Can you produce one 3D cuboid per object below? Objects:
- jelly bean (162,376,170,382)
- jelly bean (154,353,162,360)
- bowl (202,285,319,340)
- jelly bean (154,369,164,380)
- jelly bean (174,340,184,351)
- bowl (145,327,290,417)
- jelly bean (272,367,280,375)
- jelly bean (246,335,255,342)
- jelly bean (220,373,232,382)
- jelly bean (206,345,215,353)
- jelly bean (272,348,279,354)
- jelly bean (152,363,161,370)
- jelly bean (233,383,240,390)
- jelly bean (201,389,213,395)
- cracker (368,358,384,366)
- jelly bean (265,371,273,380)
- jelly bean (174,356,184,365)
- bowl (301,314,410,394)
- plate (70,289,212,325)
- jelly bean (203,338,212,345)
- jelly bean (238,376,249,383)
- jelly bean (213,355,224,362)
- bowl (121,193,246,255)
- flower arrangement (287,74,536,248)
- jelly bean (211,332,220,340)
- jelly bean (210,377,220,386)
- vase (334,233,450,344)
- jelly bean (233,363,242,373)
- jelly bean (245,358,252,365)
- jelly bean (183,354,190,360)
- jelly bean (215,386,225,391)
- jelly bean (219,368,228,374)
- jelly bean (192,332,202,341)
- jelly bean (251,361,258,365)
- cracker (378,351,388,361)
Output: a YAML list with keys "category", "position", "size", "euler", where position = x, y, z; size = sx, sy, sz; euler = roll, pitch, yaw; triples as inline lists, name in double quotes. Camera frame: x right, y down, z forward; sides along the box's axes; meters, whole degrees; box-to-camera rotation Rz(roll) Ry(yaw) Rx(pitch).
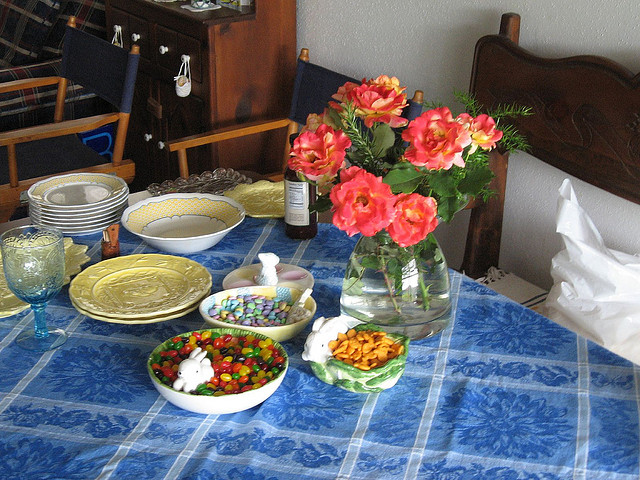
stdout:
- category: "jelly bean"
  position: [-0.247, 0.224, 0.728]
  size: [0.008, 0.005, 0.008]
  euler: [5, 14, 11]
- category: "jelly bean"
  position: [-0.274, 0.199, 0.770]
  size: [0.008, 0.009, 0.008]
  euler: [18, -4, -31]
- category: "bowl"
  position: [-0.124, 0.141, 0.911]
  size: [0.140, 0.039, 0.134]
  euler: [1, 8, 0]
- category: "jelly bean"
  position: [-0.261, 0.221, 0.745]
  size: [0.014, 0.010, 0.005]
  euler: [48, 26, -3]
- category: "jelly bean"
  position: [-0.244, 0.185, 0.791]
  size: [0.009, 0.008, 0.013]
  euler: [16, 54, 11]
- category: "bowl"
  position: [-0.163, 0.177, 0.743]
  size: [0.156, 0.067, 0.167]
  euler: [4, 14, -1]
- category: "jelly bean"
  position: [-0.072, 0.217, 0.747]
  size: [0.010, 0.009, 0.009]
  euler: [26, 62, 13]
- category: "jelly bean"
  position: [-0.125, 0.178, 0.817]
  size: [0.014, 0.011, 0.011]
  euler: [13, 30, 33]
- category: "jelly bean"
  position: [-0.150, 0.222, 0.730]
  size: [0.015, 0.008, 0.010]
  euler: [9, 14, 24]
- category: "jelly bean"
  position: [-0.190, 0.191, 0.791]
  size: [0.009, 0.012, 0.009]
  euler: [-7, 50, 41]
- category: "jelly bean"
  position: [-0.076, 0.195, 0.789]
  size: [0.005, 0.003, 0.006]
  euler: [-14, 36, -24]
- category: "jelly bean"
  position: [-0.269, 0.210, 0.750]
  size: [0.009, 0.007, 0.007]
  euler: [-8, 44, 25]
- category: "jelly bean"
  position: [-0.134, 0.235, 0.725]
  size: [0.008, 0.005, 0.007]
  euler: [1, 21, 0]
- category: "jelly bean"
  position: [-0.174, 0.237, 0.702]
  size: [0.017, 0.004, 0.011]
  euler: [-4, 25, -14]
- category: "cracker"
  position: [0.100, 0.212, 0.782]
  size: [0.015, 0.004, 0.012]
  euler: [22, 44, 9]
- category: "jelly bean"
  position: [-0.082, 0.223, 0.743]
  size: [0.012, 0.007, 0.013]
  euler: [2, 2, -15]
- category: "jelly bean"
  position: [-0.238, 0.204, 0.763]
  size: [0.010, 0.006, 0.011]
  euler: [1, 25, 1]
- category: "bowl"
  position: [0.074, 0.212, 0.837]
  size: [0.198, 0.080, 0.196]
  euler: [0, 10, 0]
- category: "plate"
  position: [-0.383, 0.139, 1.010]
  size: [0.257, 0.032, 0.249]
  euler: [-8, 12, -38]
- category: "jelly bean"
  position: [-0.201, 0.184, 0.815]
  size: [0.009, 0.006, 0.011]
  euler: [-21, 27, -39]
- category: "jelly bean"
  position: [-0.124, 0.227, 0.734]
  size: [0.014, 0.008, 0.008]
  euler: [-9, 63, -12]
- category: "jelly bean"
  position: [-0.173, 0.203, 0.774]
  size: [0.012, 0.006, 0.009]
  euler: [-9, 15, 16]
- category: "bowl"
  position: [-0.399, -0.078, 1.231]
  size: [0.224, 0.058, 0.228]
  euler: [1, 27, 0]
- category: "flower arrangement"
  position: [0.166, -0.145, 0.838]
  size: [0.362, 0.244, 0.369]
  euler: [15, 26, 38]
- category: "jelly bean"
  position: [-0.189, 0.175, 0.823]
  size: [0.015, 0.011, 0.011]
  euler: [-2, -5, 9]
- category: "jelly bean"
  position: [-0.167, 0.227, 0.726]
  size: [0.014, 0.007, 0.013]
  euler: [32, 34, 0]
- category: "vase"
  position: [0.157, 0.064, 0.906]
  size: [0.202, 0.258, 0.182]
  euler: [-10, 33, -6]
- category: "jelly bean"
  position: [-0.135, 0.212, 0.749]
  size: [0.009, 0.013, 0.008]
  euler: [26, -9, 17]
- category: "jelly bean"
  position: [-0.122, 0.207, 0.767]
  size: [0.005, 0.003, 0.010]
  euler: [12, 41, 17]
- category: "jelly bean"
  position: [-0.224, 0.197, 0.763]
  size: [0.010, 0.009, 0.009]
  euler: [-5, 17, -22]
- category: "jelly bean"
  position: [-0.159, 0.239, 0.726]
  size: [0.009, 0.005, 0.004]
  euler: [9, 33, -18]
- category: "jelly bean"
  position: [-0.159, 0.217, 0.747]
  size: [0.011, 0.004, 0.005]
  euler: [4, 61, 1]
- category: "jelly bean"
  position: [-0.218, 0.173, 0.815]
  size: [0.015, 0.009, 0.011]
  euler: [30, 13, -13]
- category: "jelly bean"
  position: [-0.110, 0.210, 0.770]
  size: [0.006, 0.003, 0.006]
  euler: [-2, 9, -35]
- category: "cracker"
  position: [0.109, 0.202, 0.783]
  size: [0.013, 0.016, 0.013]
  euler: [-33, 19, 16]
